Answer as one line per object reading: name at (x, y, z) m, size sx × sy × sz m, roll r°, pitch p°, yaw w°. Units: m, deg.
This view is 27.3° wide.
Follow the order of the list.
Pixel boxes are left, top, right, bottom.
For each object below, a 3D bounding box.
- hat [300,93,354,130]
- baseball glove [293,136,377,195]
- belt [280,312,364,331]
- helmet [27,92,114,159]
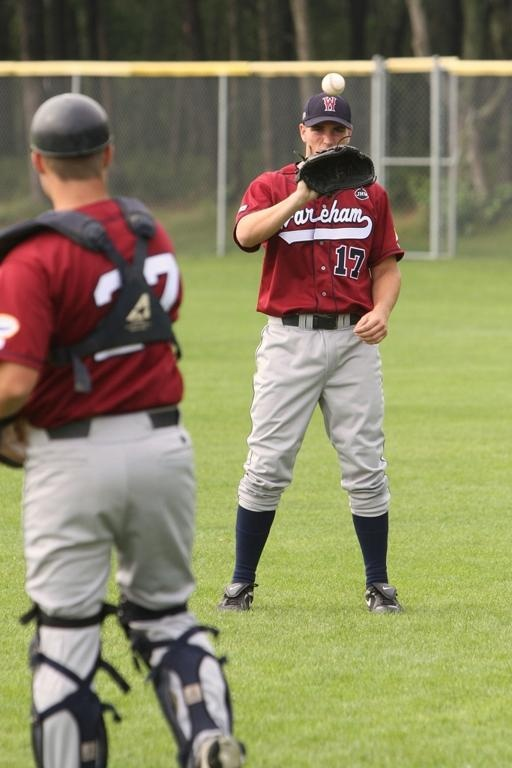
hat at (0.249, -0.985, 3.774) m, size 0.174 × 0.136 × 0.178 m, roll 1°, pitch 7°, yaw 2°
baseball glove at (0.264, -0.692, 3.409) m, size 0.252 × 0.158 × 0.097 m, roll -17°, pitch 13°, yaw -27°
belt at (0.225, -0.220, 3.736) m, size 0.280 × 0.060 × 0.083 m, roll 1°, pitch 7°, yaw -1°
helmet at (-0.403, -0.567, 2.251) m, size 0.168 × 0.104 × 0.168 m, roll 23°, pitch 39°, yaw 33°
